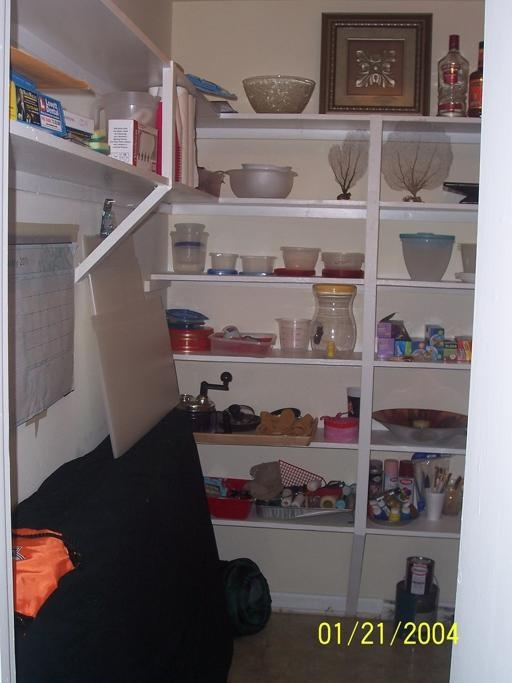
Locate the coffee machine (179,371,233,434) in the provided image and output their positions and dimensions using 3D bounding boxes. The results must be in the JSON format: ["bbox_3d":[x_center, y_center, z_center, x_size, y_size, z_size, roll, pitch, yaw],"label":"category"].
[{"bbox_3d":[-0.205,0.249,2.429,0.186,0.240,0.356,0,-3,10],"label":"coffee machine"}]

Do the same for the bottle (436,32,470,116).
[{"bbox_3d":[0.804,-1.031,2.254,0.152,0.334,0.140,1,-4,0],"label":"bottle"}]

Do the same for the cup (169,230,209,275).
[{"bbox_3d":[-0.276,-0.364,2.334,0.179,0.160,0.172,-1,4,0],"label":"cup"}]

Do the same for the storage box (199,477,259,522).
[{"bbox_3d":[-0.112,0.653,2.318,0.203,0.093,0.257,1,-8,6],"label":"storage box"}]

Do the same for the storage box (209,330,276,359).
[{"bbox_3d":[-0.055,0.012,2.406,0.264,0.111,0.311,1,-3,2],"label":"storage box"}]

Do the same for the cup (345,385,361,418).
[{"bbox_3d":[0.424,0.263,2.430,0.098,0.150,0.100,-2,4,0],"label":"cup"}]

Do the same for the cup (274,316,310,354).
[{"bbox_3d":[0.165,-0.029,2.388,0.143,0.154,0.106,0,-4,8],"label":"cup"}]

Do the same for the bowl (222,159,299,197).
[{"bbox_3d":[0.024,-0.627,2.245,0.185,0.091,0.170,-2,12,0],"label":"bowl"}]

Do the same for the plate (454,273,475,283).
[{"bbox_3d":[0.859,-0.259,2.311,0.083,0.038,0.097,0,2,-4],"label":"plate"}]

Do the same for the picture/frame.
[{"bbox_3d":[0.517,-1.170,2.368,0.553,0.545,0.044,1,3,4],"label":"picture/frame"}]

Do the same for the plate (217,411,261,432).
[{"bbox_3d":[-0.075,0.318,2.327,0.189,0.105,0.133,2,-4,-17],"label":"plate"}]

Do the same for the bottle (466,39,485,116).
[{"bbox_3d":[0.860,-1.044,2.205,0.052,0.373,0.244,0,-4,21],"label":"bottle"}]

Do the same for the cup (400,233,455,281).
[{"bbox_3d":[0.686,-0.348,2.294,0.210,0.178,0.203,0,6,0],"label":"cup"}]

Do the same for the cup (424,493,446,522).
[{"bbox_3d":[0.742,0.682,2.348,0.105,0.117,0.107,2,-5,0],"label":"cup"}]

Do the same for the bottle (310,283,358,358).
[{"bbox_3d":[0.323,-0.090,2.324,0.179,0.288,0.159,1,-4,6],"label":"bottle"}]

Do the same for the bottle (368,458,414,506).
[{"bbox_3d":[0.574,0.599,2.392,0.240,0.220,0.089,1,-3,-23],"label":"bottle"}]
